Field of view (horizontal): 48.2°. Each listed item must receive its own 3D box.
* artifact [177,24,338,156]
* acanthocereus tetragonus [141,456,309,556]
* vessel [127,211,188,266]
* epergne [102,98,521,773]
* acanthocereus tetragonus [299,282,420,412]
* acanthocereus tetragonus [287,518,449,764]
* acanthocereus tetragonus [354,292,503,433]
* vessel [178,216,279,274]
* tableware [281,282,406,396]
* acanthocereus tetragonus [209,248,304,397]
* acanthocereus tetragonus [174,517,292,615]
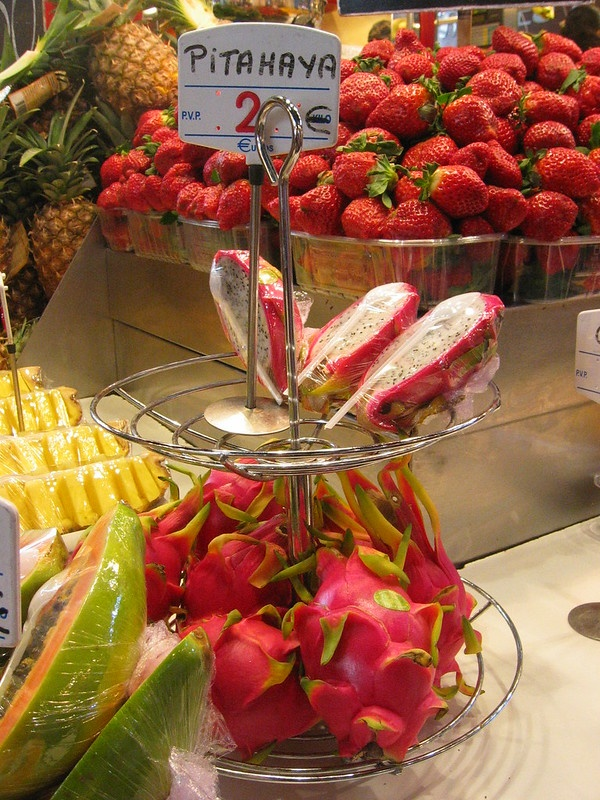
[{"bbox_3d":[-0.034,-0.234,0.511,0.128,0.095,0.061,0,16,-1],"label":"artifact"},{"bbox_3d":[-0.075,0.104,0.646,0.112,0.043,0.104,-22,10,-39],"label":"acanthocereus tetragonus"},{"bbox_3d":[-0.313,-0.359,1.474,0.118,0.067,0.166,-4,16,-18],"label":"vessel"},{"bbox_3d":[0.013,0.152,0.558,0.225,0.300,0.209,13,-32,-29],"label":"epergne"},{"bbox_3d":[0.051,-0.054,0.594,0.075,0.044,0.141,6,40,46],"label":"acanthocereus tetragonus"},{"bbox_3d":[0.047,0.190,0.502,0.122,0.118,0.111,13,20,38],"label":"acanthocereus tetragonus"},{"bbox_3d":[0.106,-0.026,0.525,0.111,0.106,0.059,-10,19,-31],"label":"acanthocereus tetragonus"},{"bbox_3d":[-0.138,-0.286,1.249,0.172,0.079,0.234,-10,19,-36],"label":"vessel"},{"bbox_3d":[0.052,-0.057,0.588,0.134,0.046,0.069,-43,40,-22],"label":"tableware"},{"bbox_3d":[-0.036,-0.063,0.602,0.040,0.124,0.099,-21,41,-11],"label":"acanthocereus tetragonus"},{"bbox_3d":[-0.056,0.145,0.576,0.084,0.051,0.061,-44,62,-9],"label":"acanthocereus tetragonus"}]
